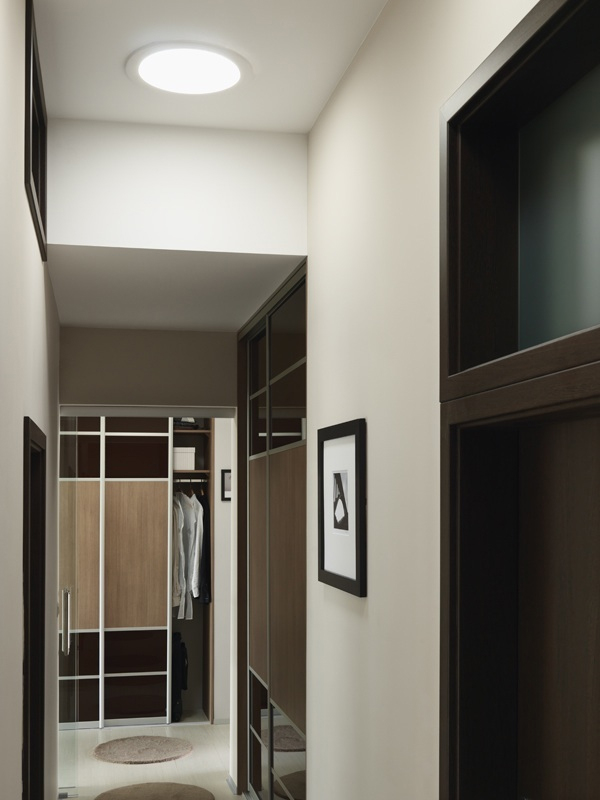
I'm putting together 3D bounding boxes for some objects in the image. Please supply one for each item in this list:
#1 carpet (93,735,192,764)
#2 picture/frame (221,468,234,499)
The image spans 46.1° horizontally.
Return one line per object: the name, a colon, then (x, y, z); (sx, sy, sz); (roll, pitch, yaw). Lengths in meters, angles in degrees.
carpet: (-1.120, 2.497, 5.026); (0.673, 0.041, 0.645); (-1, -11, -5)
picture/frame: (-0.624, 0.709, 5.811); (0.071, 0.263, 0.041); (0, -5, -9)
